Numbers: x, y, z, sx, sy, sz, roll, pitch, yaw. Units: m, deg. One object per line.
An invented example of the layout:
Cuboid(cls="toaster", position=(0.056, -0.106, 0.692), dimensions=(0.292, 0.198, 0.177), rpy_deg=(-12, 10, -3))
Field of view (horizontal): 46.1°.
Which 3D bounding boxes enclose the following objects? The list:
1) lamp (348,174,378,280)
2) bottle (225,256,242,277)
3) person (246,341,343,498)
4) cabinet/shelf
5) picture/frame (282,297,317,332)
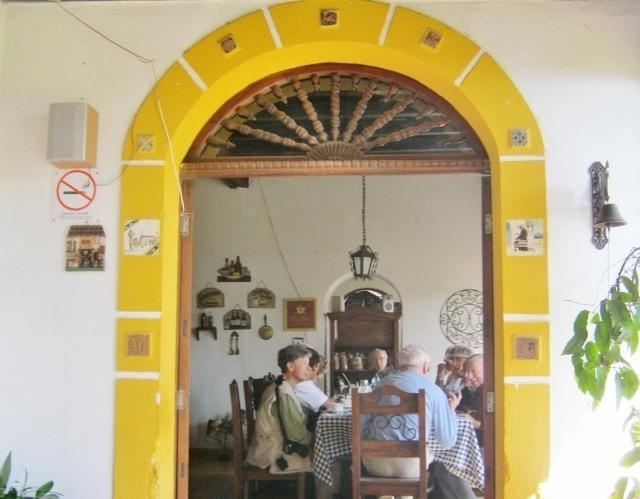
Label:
Cuboid(cls="lamp", position=(0.378, -0.225, 6.687), dimensions=(0.259, 1.003, 0.710), rpy_deg=(-1, -7, 3))
Cuboid(cls="bottle", position=(-0.838, 0.172, 7.171), dimensions=(0.167, 0.244, 0.084), rpy_deg=(-1, -12, 1))
Cuboid(cls="person", position=(-0.352, 1.380, 6.372), dimensions=(0.837, 1.323, 0.933), rpy_deg=(1, -5, -24))
Cuboid(cls="cabinet/shelf", position=(0.385, 0.935, 6.583), dimensions=(0.663, 1.073, 0.180), rpy_deg=(0, -16, 4))
Cuboid(cls="picture/frame", position=(-0.190, 0.618, 7.018), dimensions=(0.297, 0.315, 0.031), rpy_deg=(-1, -16, 4))
